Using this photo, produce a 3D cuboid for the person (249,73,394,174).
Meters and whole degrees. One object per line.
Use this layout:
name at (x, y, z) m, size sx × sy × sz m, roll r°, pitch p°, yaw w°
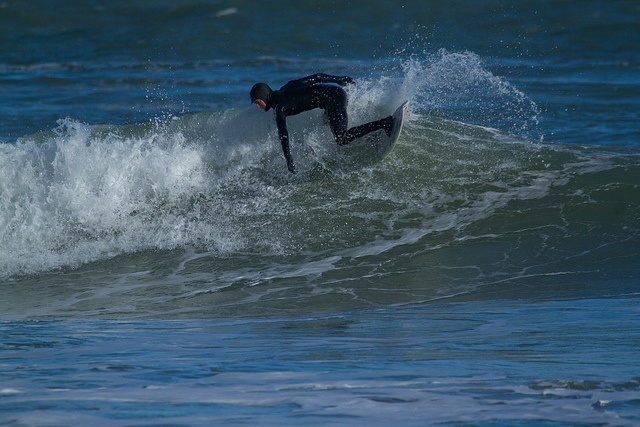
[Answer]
person at (-0.056, -1.585, 15.446) m, size 2.879 × 0.861 × 1.444 m, roll -7°, pitch 20°, yaw 9°
